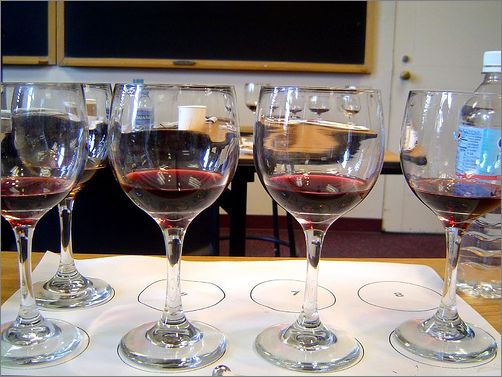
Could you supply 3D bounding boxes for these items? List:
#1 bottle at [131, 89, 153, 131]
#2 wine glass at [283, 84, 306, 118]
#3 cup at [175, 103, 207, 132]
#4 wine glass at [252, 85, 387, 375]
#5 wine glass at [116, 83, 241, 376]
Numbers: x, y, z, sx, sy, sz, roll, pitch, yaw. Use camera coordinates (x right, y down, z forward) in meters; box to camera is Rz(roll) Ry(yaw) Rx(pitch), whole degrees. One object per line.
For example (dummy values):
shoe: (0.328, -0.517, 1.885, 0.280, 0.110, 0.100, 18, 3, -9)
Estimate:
bottle: (-0.092, -0.066, 0.380, 0.018, 0.034, 0.009, 0, 14, -5)
wine glass: (0.037, -0.076, 0.392, 0.023, 0.038, 0.024, 0, -4, 1)
cup: (-0.051, -0.061, 0.384, 0.023, 0.023, 0.023, 2, 15, -1)
wine glass: (0.058, 0.024, 0.443, 0.119, 0.242, 0.169, -1, 14, -11)
wine glass: (-0.066, 0.032, 0.395, 0.110, 0.240, 0.083, -2, 14, -13)
